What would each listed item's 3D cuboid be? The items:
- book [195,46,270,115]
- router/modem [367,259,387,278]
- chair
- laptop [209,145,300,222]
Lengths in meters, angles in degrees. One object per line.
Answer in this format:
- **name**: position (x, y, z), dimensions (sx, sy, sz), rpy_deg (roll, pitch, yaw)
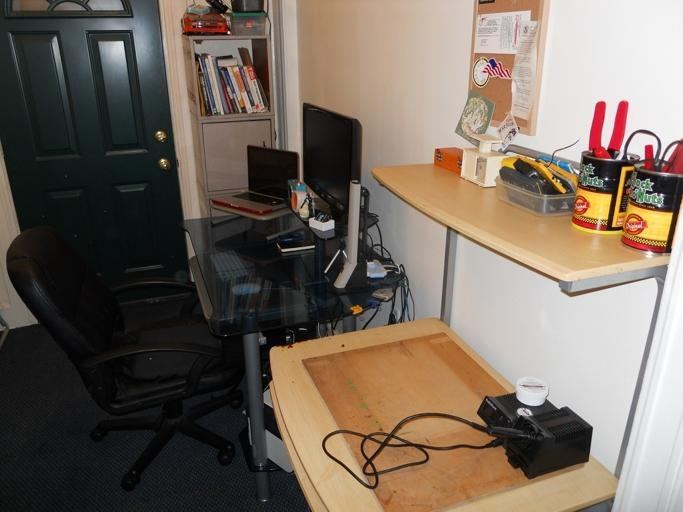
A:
- **book**: position (-0.648, -1.031, 3.034), dimensions (0.399, 0.345, 0.162), rpy_deg (-6, 25, -7)
- **router/modem**: position (0.149, 0.053, 2.183), dimensions (0.068, 0.018, 0.075), rpy_deg (6, 34, 2)
- **chair**: position (-0.819, 0.469, 2.460), dimensions (0.877, 1.317, 0.936), rpy_deg (-7, 23, -16)
- **laptop**: position (-0.469, -0.414, 2.769), dimensions (0.445, 0.304, 0.316), rpy_deg (15, 25, 37)
